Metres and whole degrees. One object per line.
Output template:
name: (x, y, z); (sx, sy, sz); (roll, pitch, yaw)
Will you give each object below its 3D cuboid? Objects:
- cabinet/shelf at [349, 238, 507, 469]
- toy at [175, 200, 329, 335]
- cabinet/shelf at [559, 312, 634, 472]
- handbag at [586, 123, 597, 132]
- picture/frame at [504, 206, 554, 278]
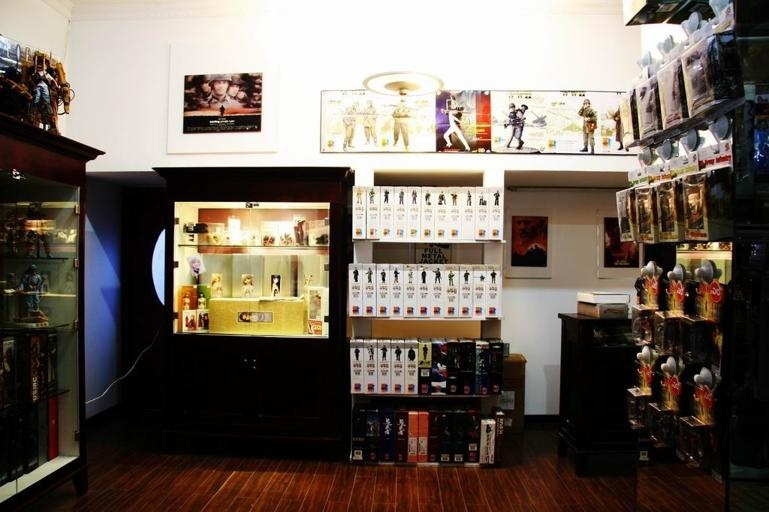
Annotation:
cabinet/shelf: (0.406, 1.008, 5.895); (2.018, 2.686, 0.841); (0, 2, 2)
toy: (-1.263, 0.112, 6.029); (1.214, 1.112, 0.421); (0, -3, 5)
cabinet/shelf: (2.067, 1.284, 5.857); (0.703, 1.389, 0.769); (2, 12, 5)
handbag: (2.030, -1.262, 6.015); (0.099, 0.097, 0.062); (-10, 12, -34)
picture/frame: (1.655, -0.185, 6.931); (0.763, 1.098, 0.048); (0, 5, 6)
